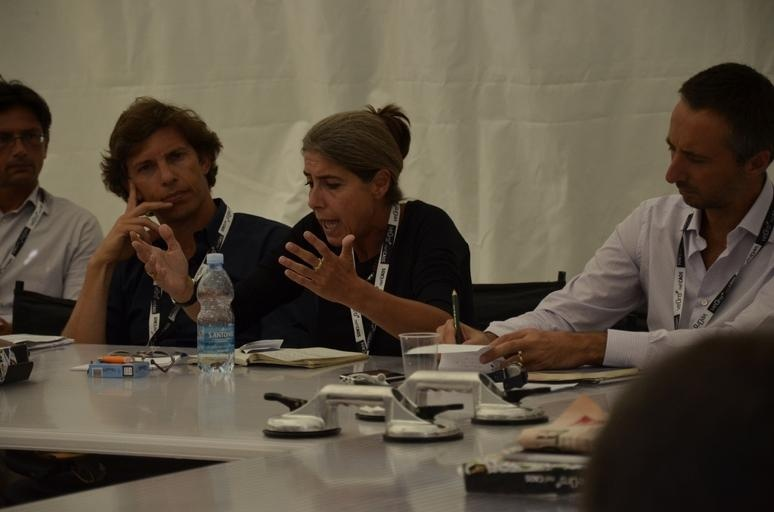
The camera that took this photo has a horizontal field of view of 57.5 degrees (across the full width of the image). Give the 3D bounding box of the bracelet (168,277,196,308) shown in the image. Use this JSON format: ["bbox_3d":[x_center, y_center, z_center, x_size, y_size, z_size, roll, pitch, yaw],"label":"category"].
[{"bbox_3d":[-0.736,0.124,2.560,0.096,0.115,0.043,2,0,-24],"label":"bracelet"}]

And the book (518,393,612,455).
[{"bbox_3d":[0.291,0.263,1.082,0.153,0.045,0.162,-12,-2,20],"label":"book"}]

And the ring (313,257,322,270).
[{"bbox_3d":[-0.217,0.024,2.231,0.013,0.034,0.027,28,-1,-16],"label":"ring"}]

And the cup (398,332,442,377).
[{"bbox_3d":[0.079,0.231,1.657,0.090,0.100,0.096,0,-9,0],"label":"cup"}]
